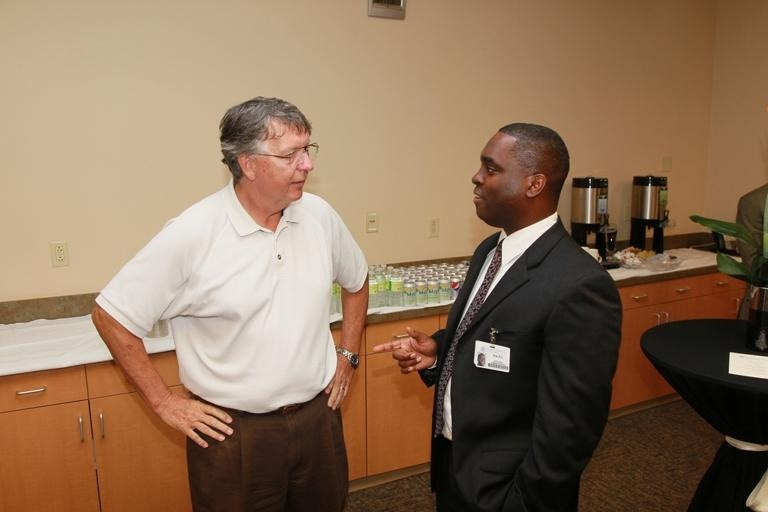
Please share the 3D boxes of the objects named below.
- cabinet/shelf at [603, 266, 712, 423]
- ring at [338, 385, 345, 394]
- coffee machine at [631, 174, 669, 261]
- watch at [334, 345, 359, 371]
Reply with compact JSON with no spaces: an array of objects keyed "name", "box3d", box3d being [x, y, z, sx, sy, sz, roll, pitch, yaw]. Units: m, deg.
[{"name":"cabinet/shelf","box3d":[2.159,0.553,4.190,0.948,0.878,0.370,-10,11,9]},{"name":"ring","box3d":[-0.188,0.596,2.369,0.008,0.030,0.031,0,-4,40]},{"name":"coffee machine","box3d":[2.291,-0.361,4.587,0.289,0.659,0.271,1,8,26]},{"name":"watch","box3d":[-0.166,0.478,2.473,0.101,0.064,0.082,30,-2,14]}]
